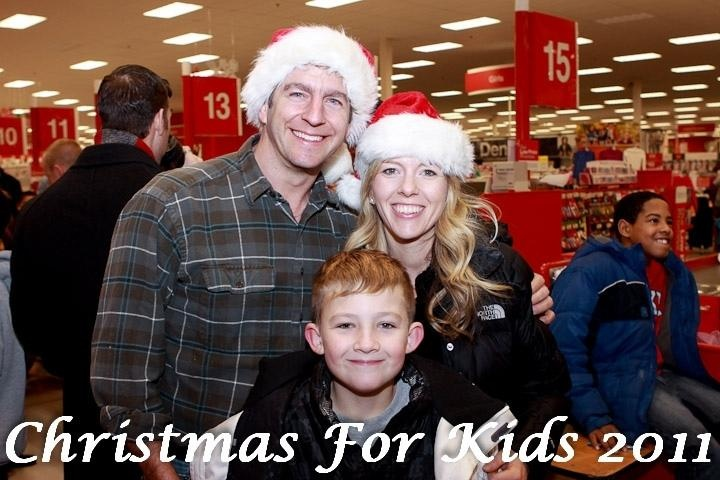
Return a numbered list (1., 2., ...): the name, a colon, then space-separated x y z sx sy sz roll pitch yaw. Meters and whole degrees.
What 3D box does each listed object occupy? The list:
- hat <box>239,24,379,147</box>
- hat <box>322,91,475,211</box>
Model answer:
1. hat: -0.218 -0.714 2.605 0.526 0.448 0.459 4 -23 36
2. hat: 0.190 -0.443 2.892 0.680 0.468 0.516 -22 -5 23
